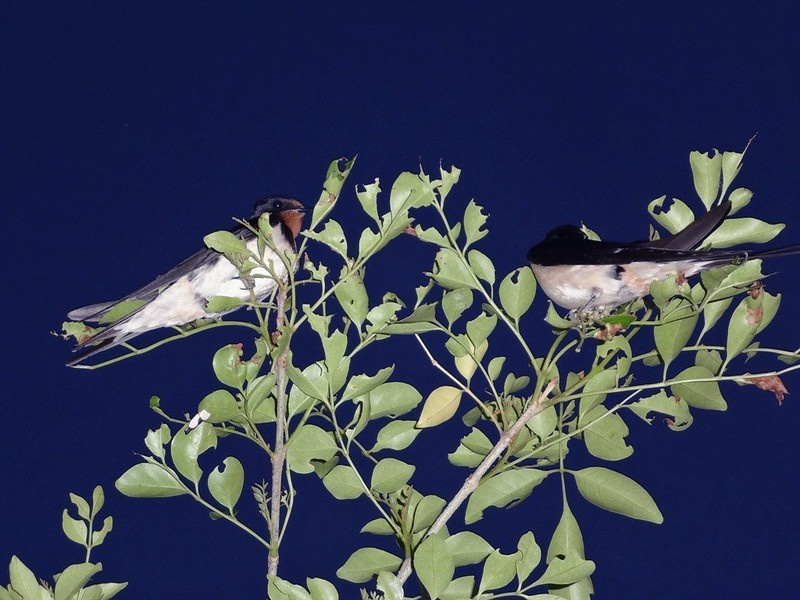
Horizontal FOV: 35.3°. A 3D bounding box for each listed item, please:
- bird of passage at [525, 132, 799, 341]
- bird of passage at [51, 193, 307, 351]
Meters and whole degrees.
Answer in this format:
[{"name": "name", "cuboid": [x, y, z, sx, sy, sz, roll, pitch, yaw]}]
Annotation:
[{"name": "bird of passage", "cuboid": [0.420, -0.050, 1.952, 0.462, 0.193, 0.127, -21, -43, 31]}, {"name": "bird of passage", "cuboid": [-0.318, -0.009, 2.023, 0.430, 0.175, 0.113, -14, -28, -4]}]
